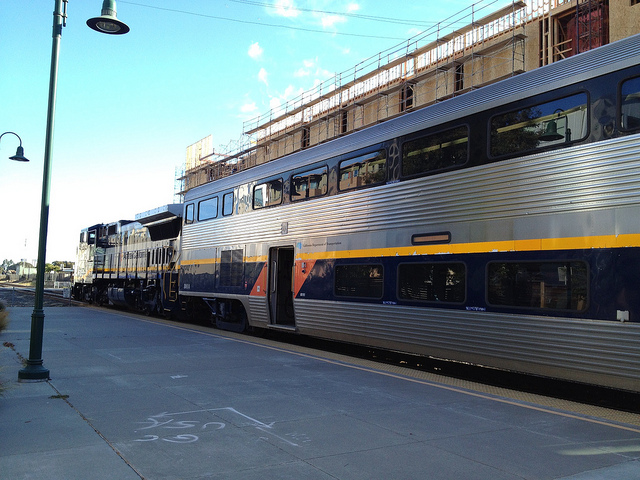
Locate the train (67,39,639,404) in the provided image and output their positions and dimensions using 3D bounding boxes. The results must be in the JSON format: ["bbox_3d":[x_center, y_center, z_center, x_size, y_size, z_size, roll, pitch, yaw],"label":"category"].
[{"bbox_3d":[-1.273,0.481,18.227,5.102,6.614,24.524,3,-3,-39],"label":"train"}]

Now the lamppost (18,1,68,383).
[{"bbox_3d":[-4.854,-1.032,8.569,0.485,6.781,0.668,2,-3,-29],"label":"lamppost"}]
